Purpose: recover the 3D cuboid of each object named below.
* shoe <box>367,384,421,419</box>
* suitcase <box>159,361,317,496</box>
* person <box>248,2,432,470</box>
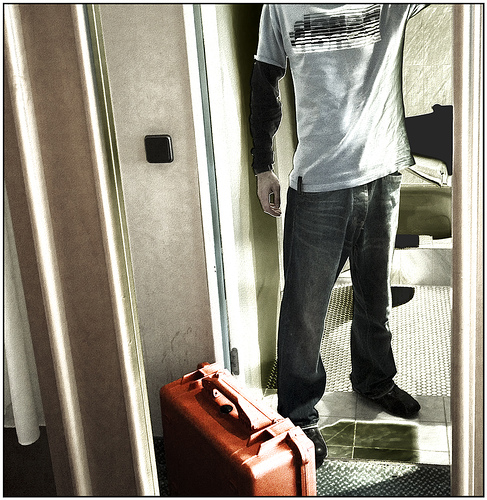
[{"bbox_3d":[0.503,0.510,1.692,0.083,0.098,0.227,4,-6,-23],"label":"shoe"},{"bbox_3d":[-0.021,0.408,1.139,0.111,0.325,0.295,-8,12,-31],"label":"suitcase"},{"bbox_3d":[0.288,-0.036,1.438,0.480,1.251,0.396,-6,13,-7],"label":"person"}]
